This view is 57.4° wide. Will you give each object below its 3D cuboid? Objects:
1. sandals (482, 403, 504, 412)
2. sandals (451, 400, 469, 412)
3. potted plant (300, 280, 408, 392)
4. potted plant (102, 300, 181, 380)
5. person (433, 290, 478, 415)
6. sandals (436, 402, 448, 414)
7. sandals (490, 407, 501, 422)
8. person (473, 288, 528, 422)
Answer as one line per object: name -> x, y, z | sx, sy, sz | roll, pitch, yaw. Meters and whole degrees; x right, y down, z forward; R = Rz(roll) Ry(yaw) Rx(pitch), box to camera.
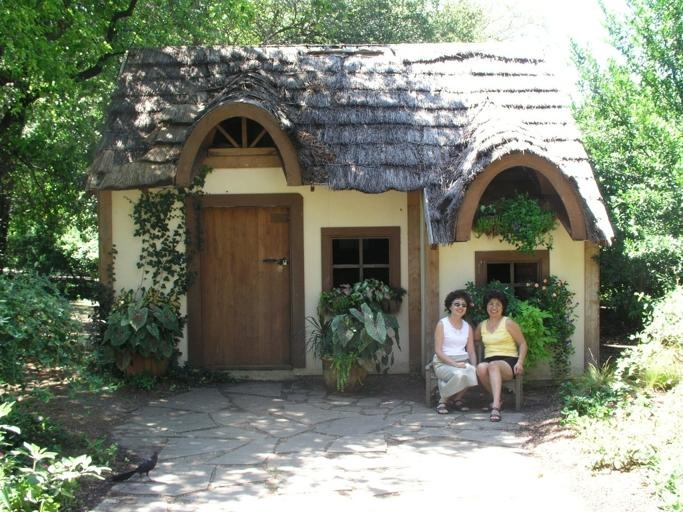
sandals -> 2.203, 2.209, 9.147 | 0.371, 0.107, 0.133 | 6, -1, -35
sandals -> 1.730, 2.205, 9.139 | 0.104, 0.110, 0.284 | -2, -2, -28
potted plant -> 0.433, 1.313, 10.399 | 1.721, 1.879, 1.505 | 10, -16, -28
potted plant -> -3.207, 1.316, 9.868 | 1.132, 0.908, 1.171 | 1, -7, -12
person -> 1.664, 1.406, 9.187 | 0.644, 1.687, 0.897 | 1, 7, 9
sandals -> 1.449, 2.198, 8.966 | 0.117, 0.095, 0.331 | 0, -5, 2
sandals -> 2.140, 2.199, 8.662 | 0.164, 0.149, 0.301 | 2, 7, 13
person -> 2.318, 1.396, 9.142 | 0.732, 1.671, 1.079 | -1, 7, -10
